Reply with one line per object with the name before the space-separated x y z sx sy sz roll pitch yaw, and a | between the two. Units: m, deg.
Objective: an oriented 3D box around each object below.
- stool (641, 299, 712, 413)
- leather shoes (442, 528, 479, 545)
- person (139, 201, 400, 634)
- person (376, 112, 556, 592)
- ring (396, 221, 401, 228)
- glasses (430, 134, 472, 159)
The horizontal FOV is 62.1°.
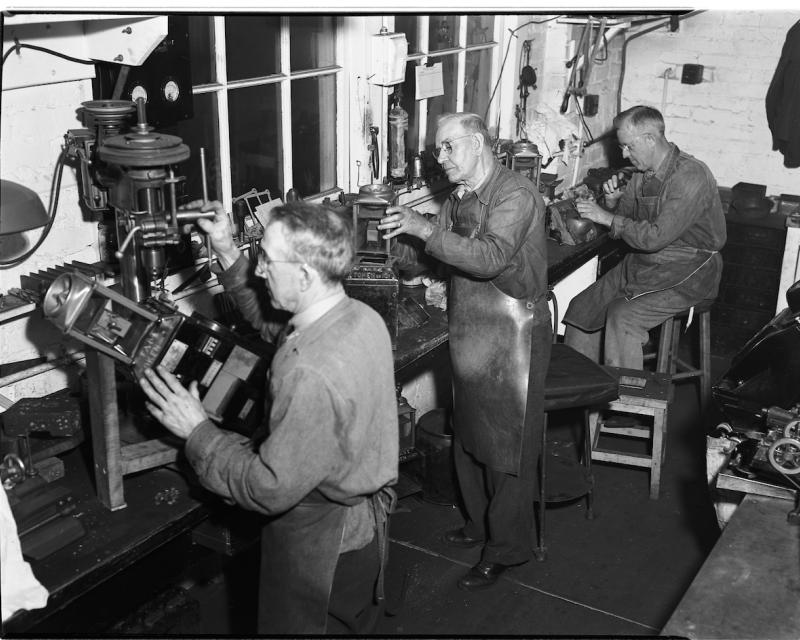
stool | 1.887 0.273 4.654 0.479 0.678 0.510 2 6 19
leather shoes | 0.292 1.099 3.364 0.149 0.063 0.085 -4 21 8
person | -0.314 0.360 1.903 0.628 1.335 0.384 -7 16 -17
person | 0.334 0.143 3.128 0.690 2.117 0.690 3 16 20
ring | -0.008 -0.390 2.751 0.021 0.022 0.015 -1 -5 -3
glasses | 0.198 -0.732 2.883 0.072 0.111 0.187 -16 21 -41
